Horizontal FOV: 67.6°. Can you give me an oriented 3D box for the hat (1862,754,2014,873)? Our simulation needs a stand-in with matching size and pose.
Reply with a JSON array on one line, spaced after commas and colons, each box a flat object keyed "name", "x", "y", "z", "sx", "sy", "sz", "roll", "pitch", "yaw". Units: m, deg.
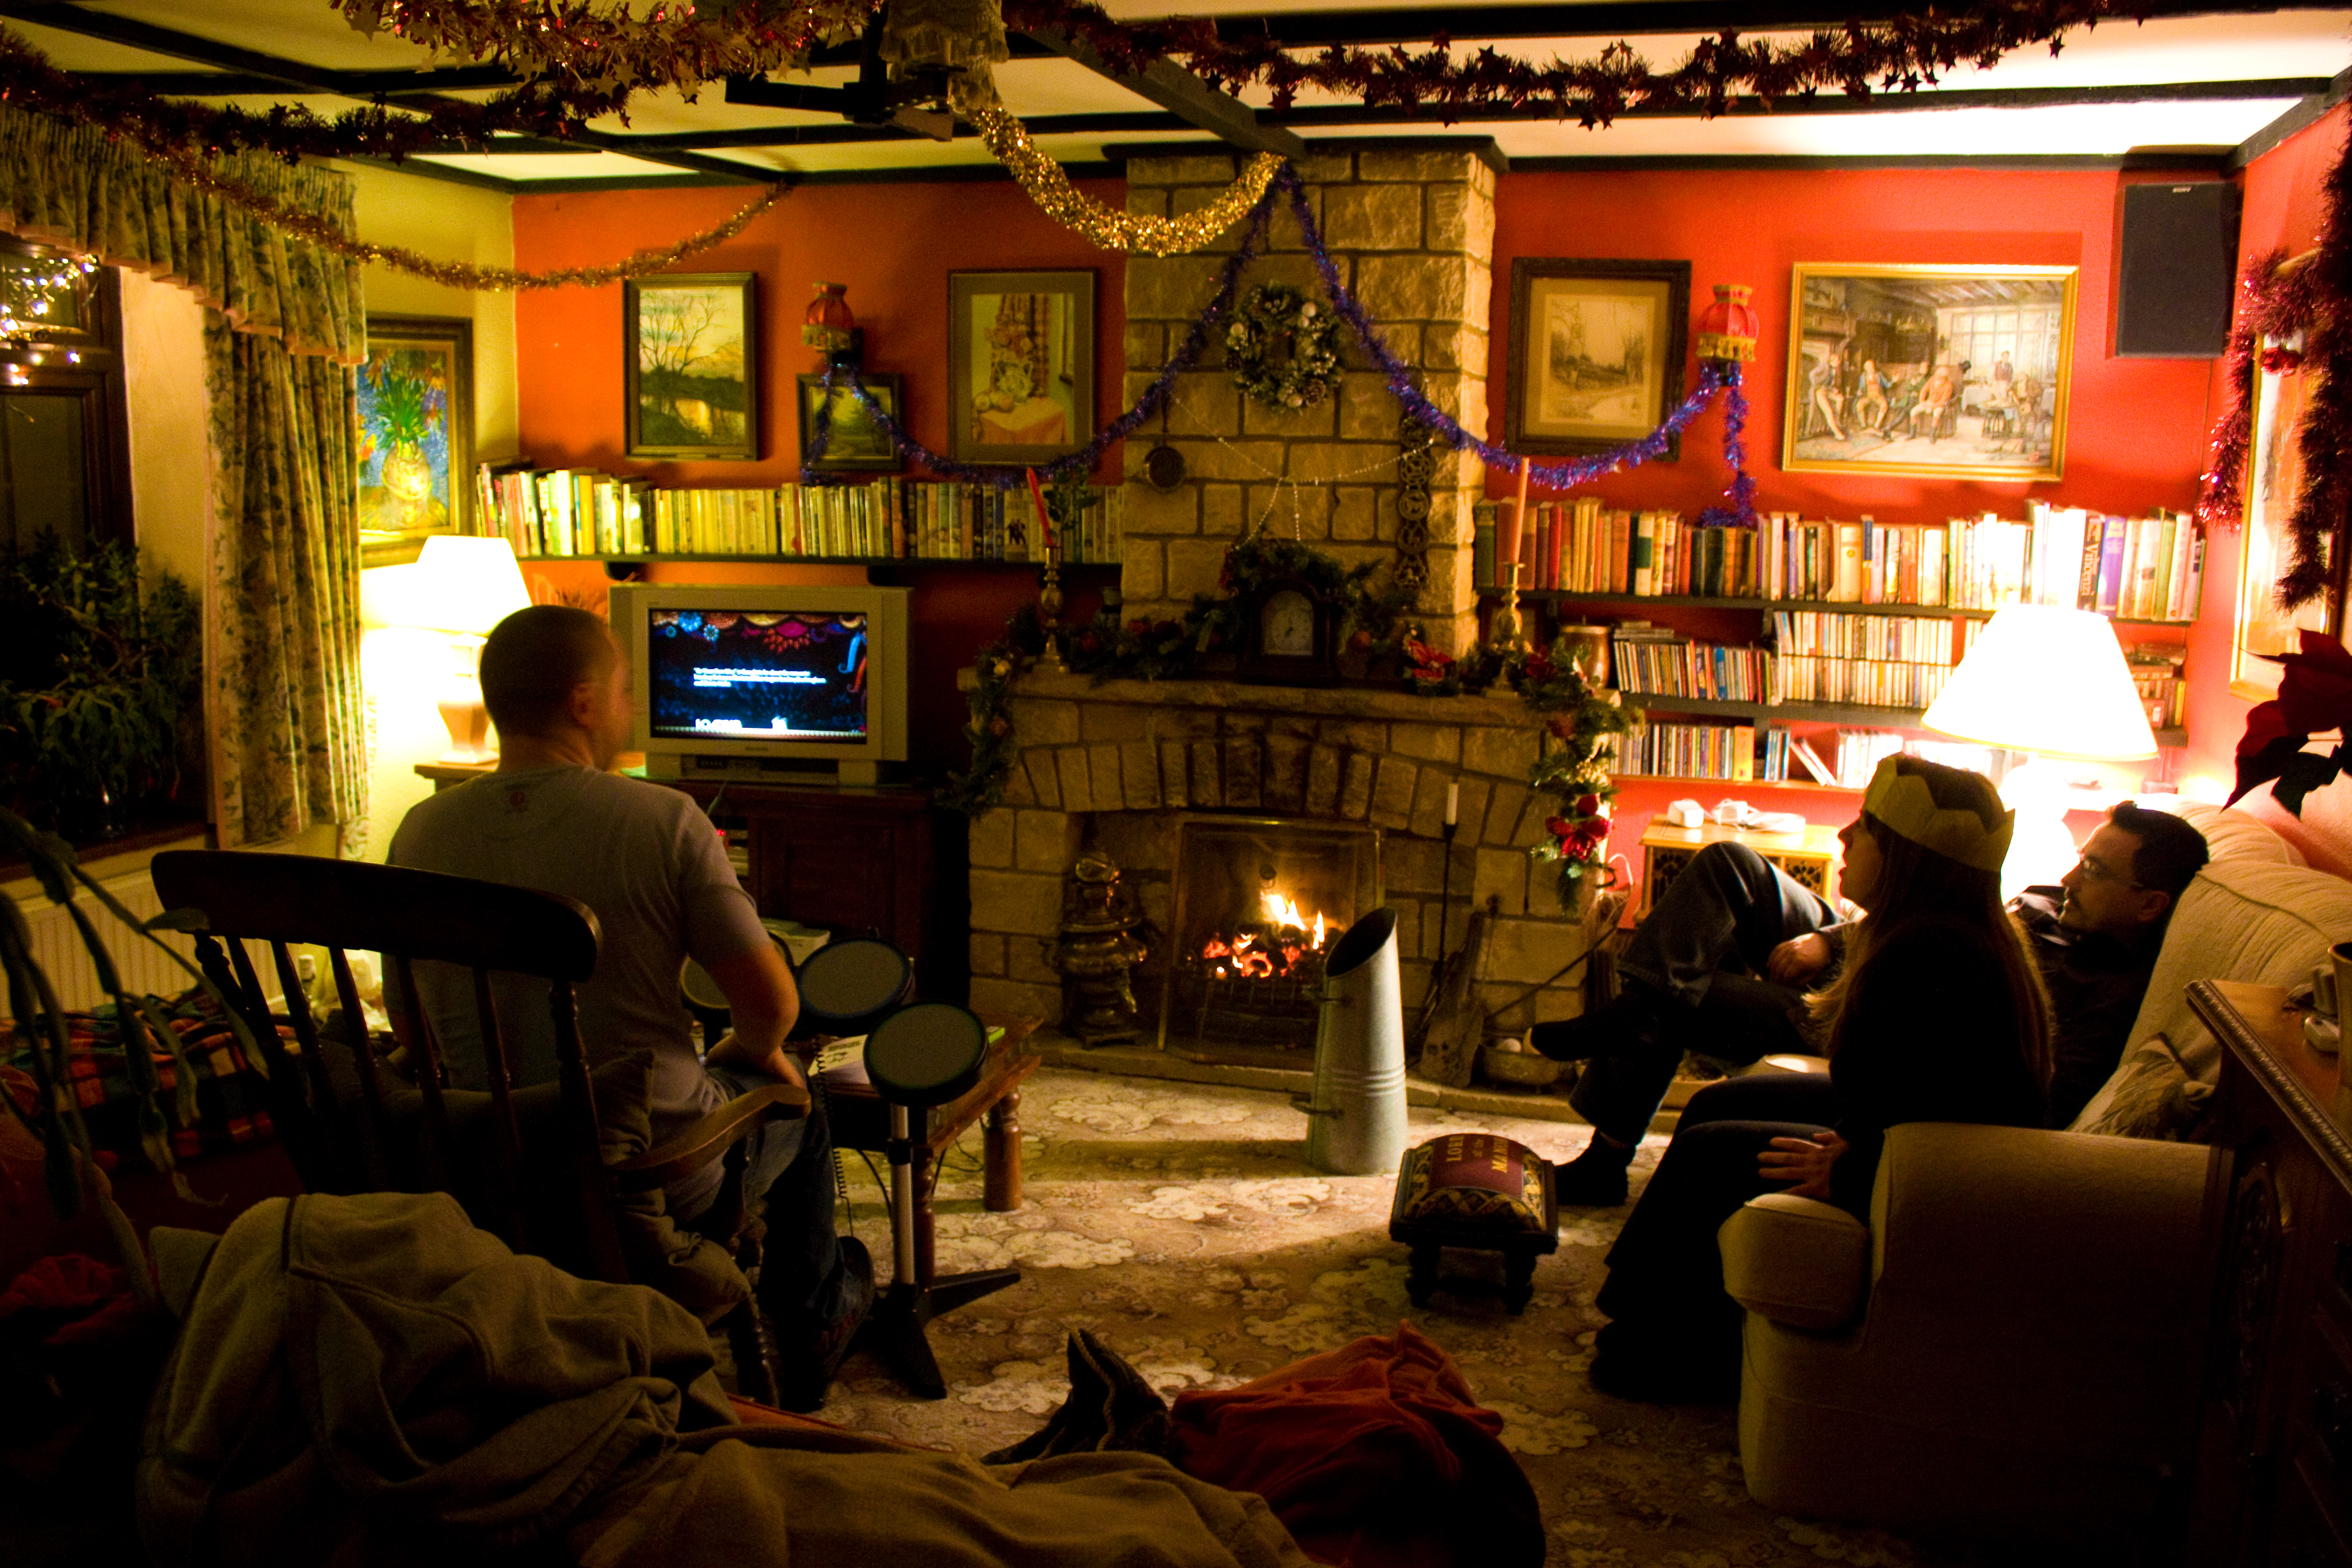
[{"name": "hat", "x": 1.741, "y": 0.073, "z": 4.050, "sx": 0.285, "sy": 0.142, "sz": 0.277, "roll": 25, "pitch": 2, "yaw": -36}]

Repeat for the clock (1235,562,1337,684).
[{"name": "clock", "x": 0.391, "y": -0.580, "z": 6.158, "sx": 0.445, "sy": 0.485, "sz": 0.171, "roll": 1, "pitch": 5, "yaw": 15}]

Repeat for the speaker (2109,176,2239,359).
[{"name": "speaker", "x": 3.314, "y": -1.708, "z": 5.817, "sx": 0.340, "sy": 0.576, "sz": 0.172, "roll": 3, "pitch": 7, "yaw": 26}]

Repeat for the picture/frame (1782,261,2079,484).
[{"name": "picture/frame", "x": 2.689, "y": -1.473, "z": 6.173, "sx": 0.850, "sy": 0.626, "sz": 0.058, "roll": 3, "pitch": 14, "yaw": 15}]

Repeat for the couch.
[{"name": "couch", "x": 1.792, "y": 0.828, "z": 4.268, "sx": 1.355, "sy": 1.485, "sz": 1.661, "roll": 2, "pitch": 2, "yaw": 18}]

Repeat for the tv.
[{"name": "tv", "x": -1.549, "y": -0.424, "z": 6.713, "sx": 1.344, "sy": 0.863, "sz": 0.741, "roll": 0, "pitch": 2, "yaw": 7}]

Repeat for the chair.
[{"name": "chair", "x": -1.241, "y": 0.732, "z": 3.238, "sx": 1.054, "sy": 1.262, "sz": 0.987, "roll": -3, "pitch": 7, "yaw": -29}]

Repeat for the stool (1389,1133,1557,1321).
[{"name": "stool", "x": 0.793, "y": 1.212, "z": 4.731, "sx": 0.439, "sy": 0.325, "sz": 0.452, "roll": 0, "pitch": 9, "yaw": 10}]

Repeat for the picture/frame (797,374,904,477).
[{"name": "picture/frame", "x": -1.290, "y": -1.443, "z": 6.993, "sx": 0.440, "sy": 0.374, "sz": 0.041, "roll": 2, "pitch": 13, "yaw": 13}]

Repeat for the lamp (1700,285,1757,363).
[{"name": "lamp", "x": 1.911, "y": -1.594, "z": 6.084, "sx": 0.256, "sy": 0.240, "sz": 0.243, "roll": 2, "pitch": 7, "yaw": 26}]

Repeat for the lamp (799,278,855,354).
[{"name": "lamp", "x": -1.327, "y": -1.824, "z": 6.857, "sx": 0.258, "sy": 0.288, "sz": 0.252, "roll": 1, "pitch": 9, "yaw": -5}]

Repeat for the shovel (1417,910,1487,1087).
[{"name": "shovel", "x": 0.953, "y": 0.734, "z": 6.090, "sx": 0.232, "sy": 0.592, "sz": 0.210, "roll": 4, "pitch": 8, "yaw": 30}]

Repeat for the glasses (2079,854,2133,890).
[{"name": "glasses", "x": 2.467, "y": 0.230, "z": 4.668, "sx": 0.074, "sy": 0.034, "sz": 0.052, "roll": -8, "pitch": 35, "yaw": 5}]

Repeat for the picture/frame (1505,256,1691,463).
[{"name": "picture/frame", "x": 1.551, "y": -1.572, "z": 6.388, "sx": 0.879, "sy": 0.913, "sz": 0.069, "roll": 2, "pitch": 5, "yaw": 15}]

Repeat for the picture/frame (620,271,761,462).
[{"name": "picture/frame", "x": -1.967, "y": -1.732, "z": 7.157, "sx": 0.816, "sy": 0.980, "sz": 0.074, "roll": 1, "pitch": 3, "yaw": 8}]

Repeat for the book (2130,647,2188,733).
[{"name": "book", "x": 3.310, "y": -0.312, "z": 5.898, "sx": 0.282, "sy": 0.243, "sz": 0.068, "roll": 5, "pitch": 8, "yaw": 21}]

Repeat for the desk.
[{"name": "desk", "x": -0.797, "y": 0.992, "z": 4.925, "sx": 0.709, "sy": 0.581, "sz": 0.592, "roll": 7, "pitch": 20, "yaw": 19}]

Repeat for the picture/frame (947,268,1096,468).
[{"name": "picture/frame", "x": -0.586, "y": -1.648, "z": 6.827, "sx": 0.843, "sy": 0.941, "sz": 0.041, "roll": 3, "pitch": 6, "yaw": 8}]
